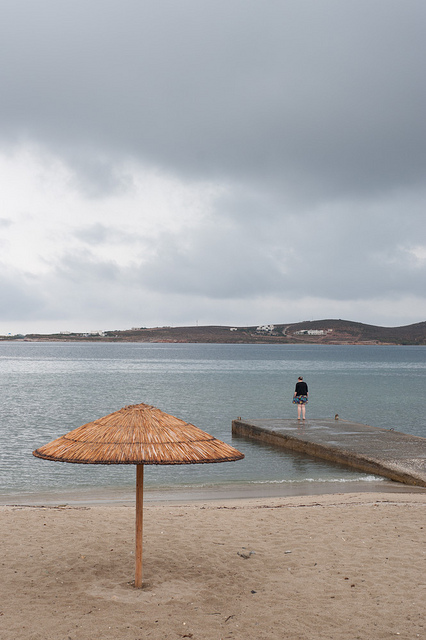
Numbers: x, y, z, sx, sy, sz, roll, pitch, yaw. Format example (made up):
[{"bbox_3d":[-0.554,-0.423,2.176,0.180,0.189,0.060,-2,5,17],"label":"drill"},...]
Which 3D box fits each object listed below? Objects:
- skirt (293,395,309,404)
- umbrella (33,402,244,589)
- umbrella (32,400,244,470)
[{"bbox_3d":[3.771,3.513,28.009,0.654,0.353,0.807,1,1,-5],"label":"skirt"},{"bbox_3d":[-1.048,2.250,8.474,2.287,1.767,2.205,1,-1,-17],"label":"umbrella"},{"bbox_3d":[-0.928,1.429,8.082,2.291,0.616,1.316,1,-4,-9],"label":"umbrella"}]
